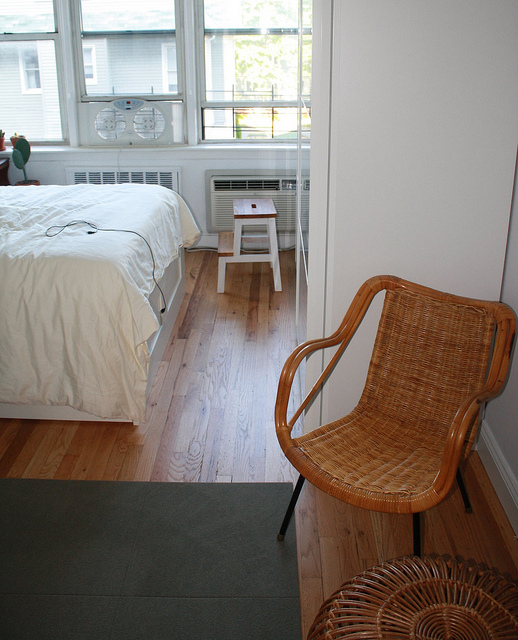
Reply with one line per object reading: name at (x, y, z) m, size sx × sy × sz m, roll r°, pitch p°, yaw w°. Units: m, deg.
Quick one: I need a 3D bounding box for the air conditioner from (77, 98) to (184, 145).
air conditioner at (-1.051, -1.615, 3.982) m, size 0.803 × 0.419 × 0.152 m, roll -3°, pitch 1°, yaw -8°

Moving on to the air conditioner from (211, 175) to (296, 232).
air conditioner at (-0.041, -1.044, 4.017) m, size 0.706 × 0.486 × 0.574 m, roll 4°, pitch 25°, yaw 9°
